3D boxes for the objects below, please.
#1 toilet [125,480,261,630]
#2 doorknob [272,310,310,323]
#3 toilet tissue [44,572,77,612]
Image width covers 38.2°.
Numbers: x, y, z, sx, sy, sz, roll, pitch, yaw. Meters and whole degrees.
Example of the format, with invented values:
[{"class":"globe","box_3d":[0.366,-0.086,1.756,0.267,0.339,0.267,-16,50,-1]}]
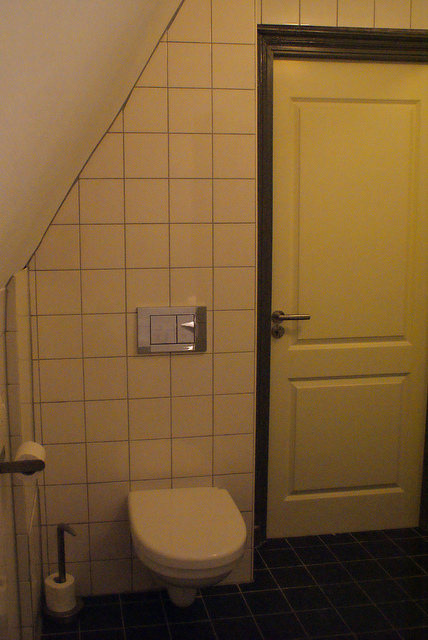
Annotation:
[{"class":"toilet","box_3d":[-0.086,0.670,1.789,0.354,0.340,0.499,-3,14,-18]},{"class":"doorknob","box_3d":[0.263,-0.012,2.126,0.127,0.029,0.049,0,19,1]},{"class":"toilet tissue","box_3d":[-0.447,0.790,1.797,0.089,0.098,0.079,0,9,-5]}]
